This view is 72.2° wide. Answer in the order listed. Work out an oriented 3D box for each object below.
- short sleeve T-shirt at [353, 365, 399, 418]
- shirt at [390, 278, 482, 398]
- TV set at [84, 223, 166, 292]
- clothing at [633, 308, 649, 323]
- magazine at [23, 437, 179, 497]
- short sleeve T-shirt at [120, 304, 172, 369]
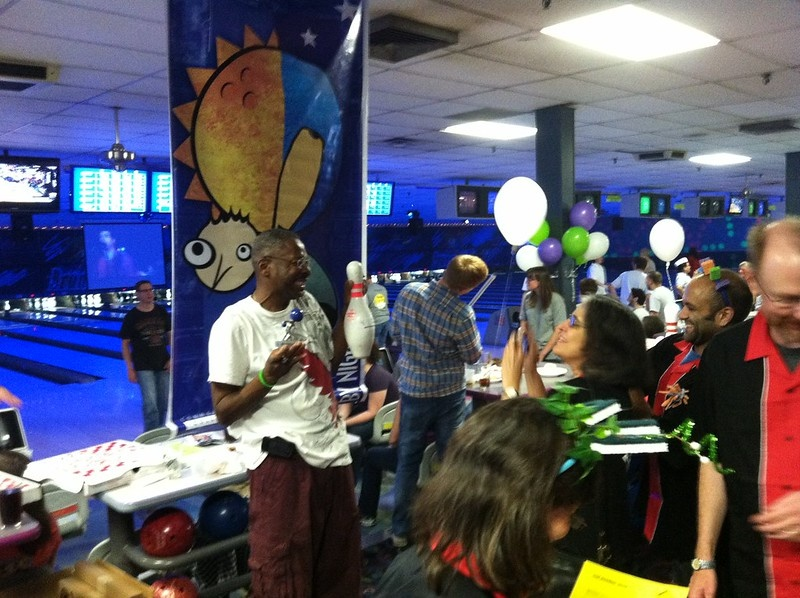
[{"bbox_3d":[-0.138,0.565,4.269,0.320,0.557,0.581,3,1,4],"label":"short sleeve T-shirt"},{"bbox_3d":[0.245,0.257,3.653,0.595,0.761,0.287,-3,4,-1],"label":"shirt"},{"bbox_3d":[-5.400,-0.872,10.687,0.216,1.369,1.615,-6,-4,43],"label":"TV set"},{"bbox_3d":[2.239,0.142,5.028,0.120,0.124,0.071,5,4,29],"label":"clothing"},{"bbox_3d":[-1.151,0.715,2.233,0.279,0.043,0.271,-23,-8,13],"label":"magazine"},{"bbox_3d":[-2.695,0.409,5.812,0.471,0.699,0.293,-5,5,-23],"label":"short sleeve T-shirt"}]
